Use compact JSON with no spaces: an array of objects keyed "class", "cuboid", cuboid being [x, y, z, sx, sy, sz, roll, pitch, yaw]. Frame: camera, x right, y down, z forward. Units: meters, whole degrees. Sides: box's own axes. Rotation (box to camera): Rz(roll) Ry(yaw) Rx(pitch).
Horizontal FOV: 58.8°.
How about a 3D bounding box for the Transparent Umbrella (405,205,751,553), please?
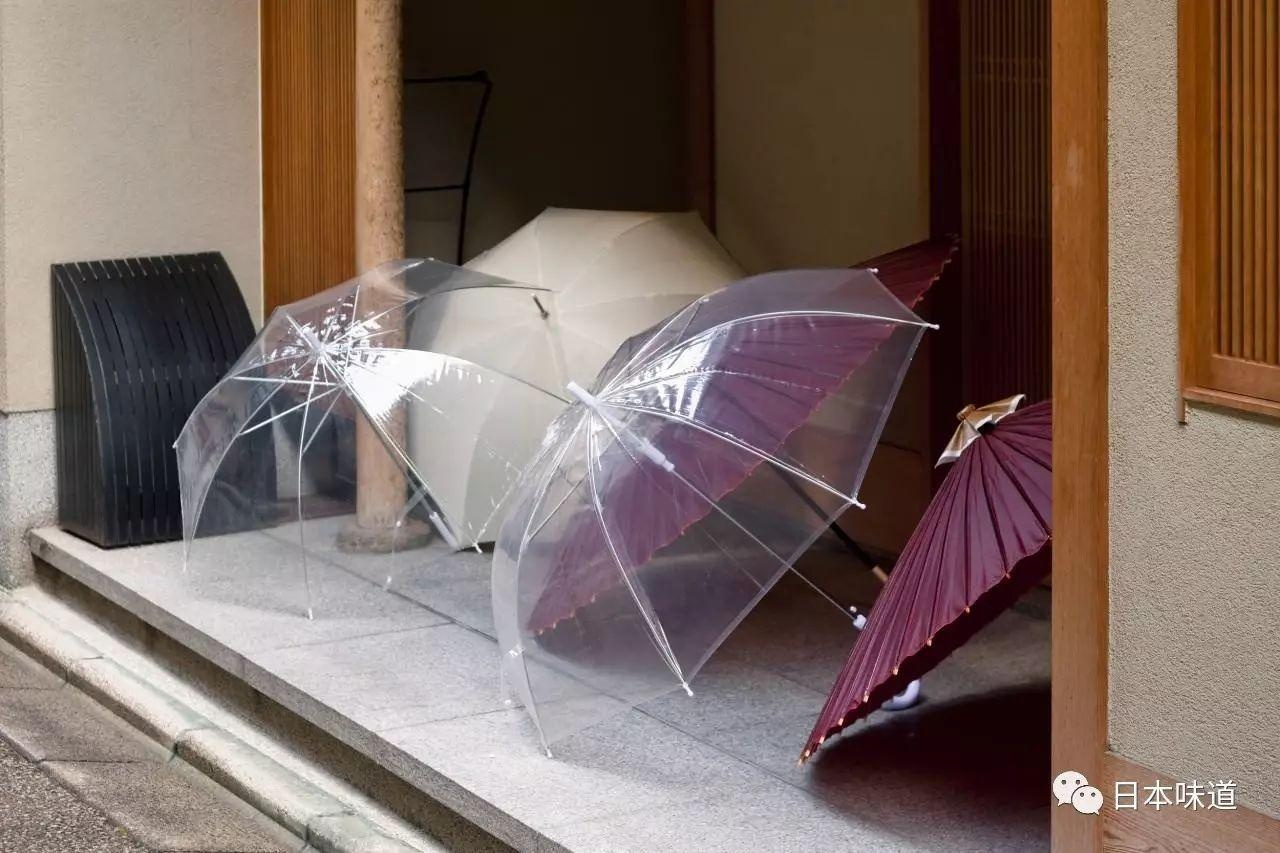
[{"class":"Transparent Umbrella","cuboid":[-0.420,-0.443,5.628,1.628,1.699,1.161,-29,-45,30]}]
